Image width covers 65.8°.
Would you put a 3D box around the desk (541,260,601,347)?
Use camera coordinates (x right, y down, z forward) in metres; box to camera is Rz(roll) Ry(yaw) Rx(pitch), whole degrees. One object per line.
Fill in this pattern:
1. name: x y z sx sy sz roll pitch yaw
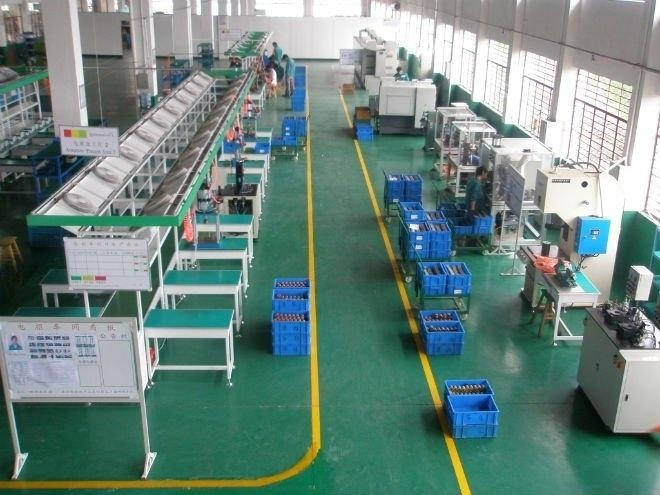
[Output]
1. desk: 4.189 0.951 8.870 0.493 0.644 1.303 -3 23 3

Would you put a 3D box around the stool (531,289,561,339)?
1. stool: 3.944 1.231 9.281 0.437 0.778 0.547 3 34 -8
